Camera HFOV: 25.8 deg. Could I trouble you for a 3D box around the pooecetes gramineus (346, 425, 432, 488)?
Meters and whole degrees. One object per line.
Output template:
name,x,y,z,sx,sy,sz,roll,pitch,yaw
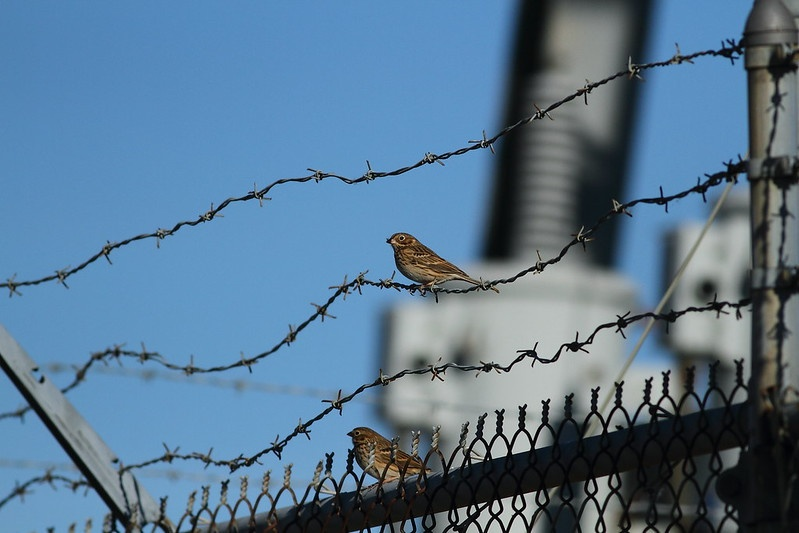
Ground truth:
pooecetes gramineus,-0.039,1.040,9.595,0.561,0.334,0.200,5,-15,-28
